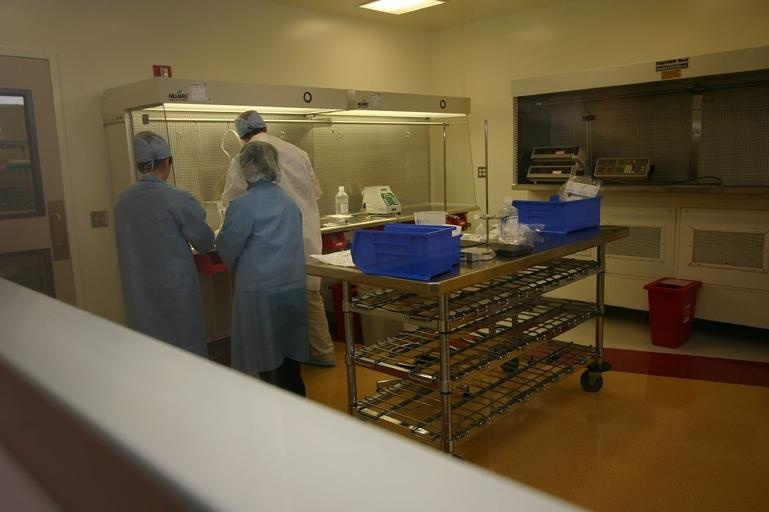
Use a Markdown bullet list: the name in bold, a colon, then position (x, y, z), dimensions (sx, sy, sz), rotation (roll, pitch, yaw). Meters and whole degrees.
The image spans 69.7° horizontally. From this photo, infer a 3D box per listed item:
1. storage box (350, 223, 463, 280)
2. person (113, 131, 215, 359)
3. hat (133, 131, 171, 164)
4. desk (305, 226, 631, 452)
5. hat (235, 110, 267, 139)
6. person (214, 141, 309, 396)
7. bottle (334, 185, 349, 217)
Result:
- **storage box**: position (0.097, -0.017, 2.604), dimensions (0.323, 0.167, 0.332), rotation (2, 9, 30)
- **person**: position (-1.321, -0.049, 3.281), dimensions (0.446, 1.327, 0.546), rotation (-12, 16, -40)
- **hat**: position (-1.407, -0.637, 3.419), dimensions (0.237, 0.171, 0.177), rotation (5, -30, -15)
- **desk**: position (0.440, -0.099, 3.178), dimensions (1.146, 1.166, 2.302), rotation (10, 17, 44)
- **hat**: position (-0.906, -0.885, 3.716), dimensions (0.188, 0.183, 0.138), rotation (-1, 12, 3)
- **person**: position (-0.684, 0.146, 3.148), dimensions (0.476, 1.553, 0.307), rotation (-4, 12, -9)
- **bottle**: position (-0.394, -0.512, 5.175), dimensions (0.138, 0.266, 0.354), rotation (-3, 12, -3)
